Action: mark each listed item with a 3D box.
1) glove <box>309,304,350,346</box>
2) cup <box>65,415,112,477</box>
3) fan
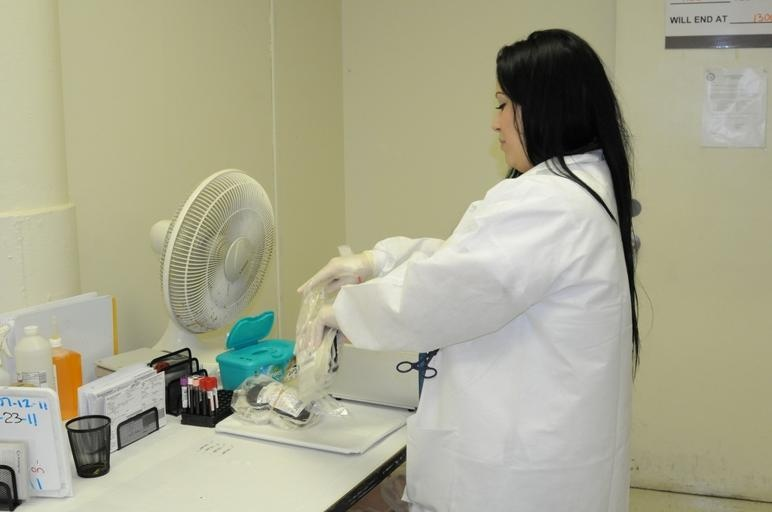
[{"bbox_3d":[-0.175,0.200,1.933,0.103,0.134,0.039,-2,9,-27],"label":"glove"},{"bbox_3d":[-0.831,0.536,1.877,0.154,0.174,0.153,-1,-3,0],"label":"cup"},{"bbox_3d":[-0.709,0.056,2.362,0.406,0.724,0.557,10,17,12],"label":"fan"}]
